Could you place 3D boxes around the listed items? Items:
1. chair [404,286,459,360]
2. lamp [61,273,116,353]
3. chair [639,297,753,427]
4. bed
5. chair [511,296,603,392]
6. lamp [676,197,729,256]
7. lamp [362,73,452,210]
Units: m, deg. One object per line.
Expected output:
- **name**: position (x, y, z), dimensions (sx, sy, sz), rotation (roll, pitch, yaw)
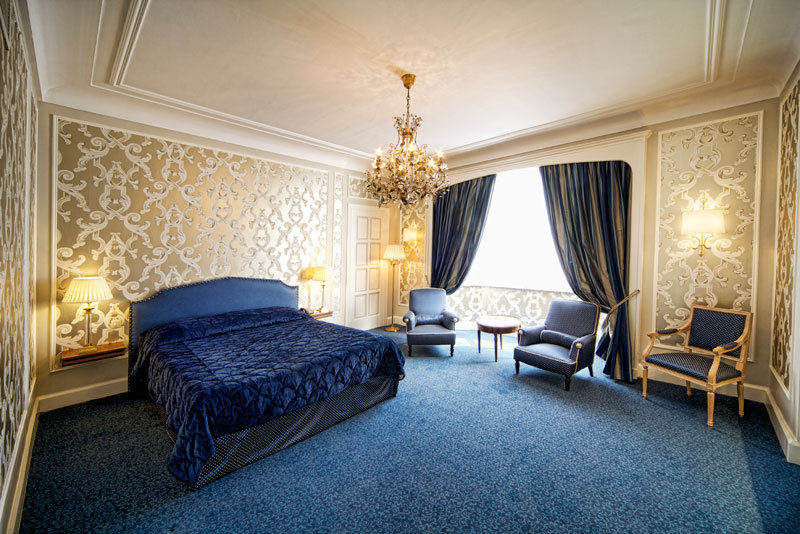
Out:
- **chair**: position (0.486, 0.874, 7.554), dimensions (0.814, 0.885, 1.009), rotation (-1, 11, 0)
- **lamp**: position (-3.708, 0.526, 5.560), dimensions (0.505, 0.863, 0.427), rotation (-9, 13, -36)
- **chair**: position (3.566, 1.129, 5.669), dimensions (0.841, 1.196, 0.933), rotation (-5, 7, -27)
- **bed**: position (-1.964, 1.136, 5.455), dimensions (2.226, 1.339, 2.537), rotation (4, 5, 40)
- **chair**: position (2.125, 0.998, 6.422), dimensions (0.922, 0.992, 0.897), rotation (9, 15, 43)
- **lamp**: position (3.745, -0.491, 5.768), dimensions (0.364, 0.746, 0.198), rotation (3, -9, 31)
- **lamp**: position (0.100, -1.588, 5.705), dimensions (0.974, 1.436, 0.958), rotation (-8, 14, -29)
